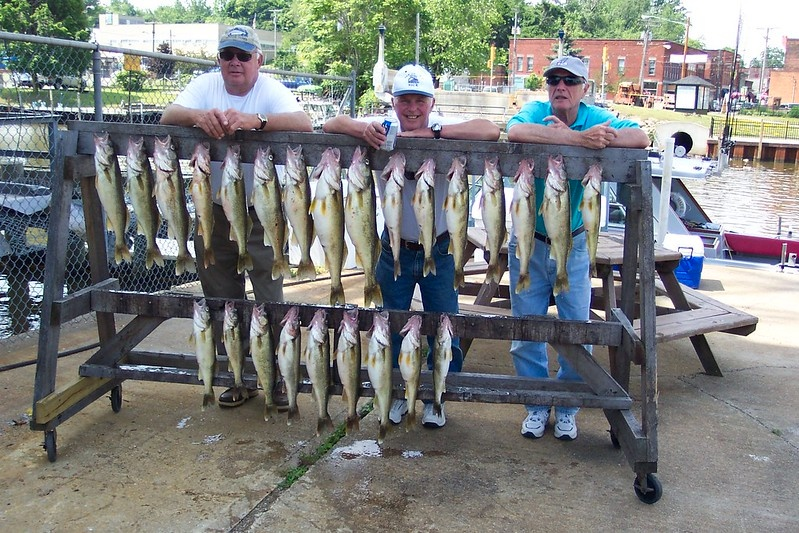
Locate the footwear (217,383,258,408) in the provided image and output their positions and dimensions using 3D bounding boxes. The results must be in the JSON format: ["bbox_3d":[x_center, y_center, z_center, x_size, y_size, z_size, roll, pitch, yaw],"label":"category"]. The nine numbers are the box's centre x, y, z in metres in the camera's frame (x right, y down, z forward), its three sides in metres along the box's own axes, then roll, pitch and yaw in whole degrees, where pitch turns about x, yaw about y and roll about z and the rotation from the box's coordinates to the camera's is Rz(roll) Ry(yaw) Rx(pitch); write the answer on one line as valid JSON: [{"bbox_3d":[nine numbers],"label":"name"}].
[{"bbox_3d":[-1.332,1.113,5.644,0.444,0.202,0.193,1,34,-7],"label":"footwear"}]

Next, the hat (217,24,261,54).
[{"bbox_3d":[-1.263,-1.795,5.342,0.206,0.166,0.307,3,10,3],"label":"hat"}]

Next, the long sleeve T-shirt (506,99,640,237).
[{"bbox_3d":[1.341,-0.798,5.298,1.144,1.269,0.590,5,-17,9],"label":"long sleeve T-shirt"}]

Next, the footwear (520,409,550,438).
[{"bbox_3d":[1.109,1.294,5.462,0.118,0.146,0.336,1,0,20],"label":"footwear"}]

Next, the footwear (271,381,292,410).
[{"bbox_3d":[-0.981,1.099,5.581,0.192,0.214,0.321,0,5,-12],"label":"footwear"}]

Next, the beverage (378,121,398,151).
[{"bbox_3d":[-0.073,-0.968,4.935,0.121,0.230,0.190,0,13,2],"label":"beverage"}]

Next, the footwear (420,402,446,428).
[{"bbox_3d":[0.279,1.234,5.491,0.127,0.158,0.362,1,-14,5],"label":"footwear"}]

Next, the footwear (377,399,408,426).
[{"bbox_3d":[-0.058,1.215,5.604,0.140,0.180,0.404,1,2,9],"label":"footwear"}]

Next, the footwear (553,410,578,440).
[{"bbox_3d":[1.369,1.312,5.452,0.121,0.129,0.291,0,-2,8],"label":"footwear"}]

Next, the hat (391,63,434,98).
[{"bbox_3d":[0.105,-1.400,5.050,0.209,0.181,0.306,2,26,-1],"label":"hat"}]

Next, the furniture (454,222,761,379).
[{"bbox_3d":[2.443,0.427,6.637,1.922,0.865,2.230,-3,13,-12],"label":"furniture"}]

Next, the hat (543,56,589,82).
[{"bbox_3d":[1.326,-1.559,5.262,0.340,0.187,0.279,0,13,2],"label":"hat"}]
